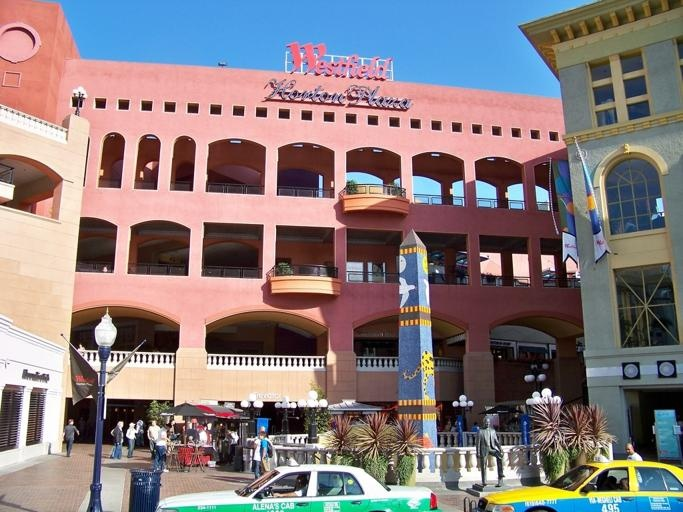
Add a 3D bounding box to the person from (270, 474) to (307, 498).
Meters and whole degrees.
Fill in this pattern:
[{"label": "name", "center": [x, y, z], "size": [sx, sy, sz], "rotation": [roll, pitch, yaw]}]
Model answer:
[{"label": "person", "center": [-1.354, 6.039, 16.974], "size": [0.733, 0.370, 0.542], "rotation": [1, -6, -7]}]
